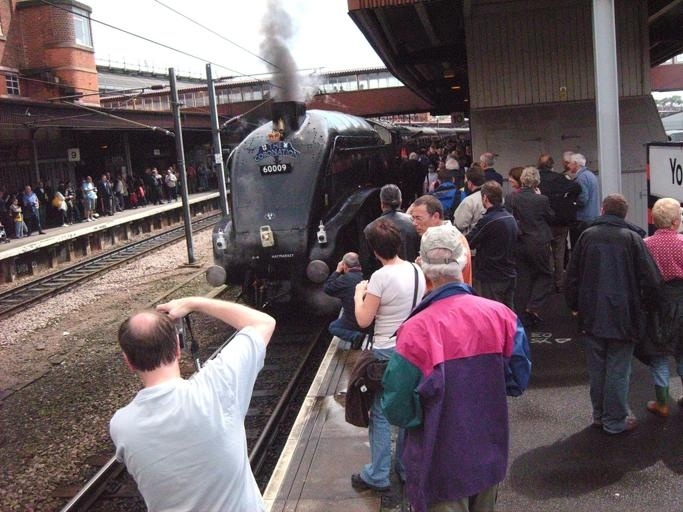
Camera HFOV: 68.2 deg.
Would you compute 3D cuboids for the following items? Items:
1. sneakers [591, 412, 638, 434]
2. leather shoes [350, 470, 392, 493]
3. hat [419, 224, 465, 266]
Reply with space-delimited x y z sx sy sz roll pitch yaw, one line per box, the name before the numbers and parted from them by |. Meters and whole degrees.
sneakers | 2.630 1.568 4.831 0.424 0.198 0.162 -11 21 -8
leather shoes | 0.227 1.914 4.330 0.276 0.139 0.134 -2 0 17
hat | 0.631 -0.068 3.147 0.264 0.239 0.278 -3 11 14
